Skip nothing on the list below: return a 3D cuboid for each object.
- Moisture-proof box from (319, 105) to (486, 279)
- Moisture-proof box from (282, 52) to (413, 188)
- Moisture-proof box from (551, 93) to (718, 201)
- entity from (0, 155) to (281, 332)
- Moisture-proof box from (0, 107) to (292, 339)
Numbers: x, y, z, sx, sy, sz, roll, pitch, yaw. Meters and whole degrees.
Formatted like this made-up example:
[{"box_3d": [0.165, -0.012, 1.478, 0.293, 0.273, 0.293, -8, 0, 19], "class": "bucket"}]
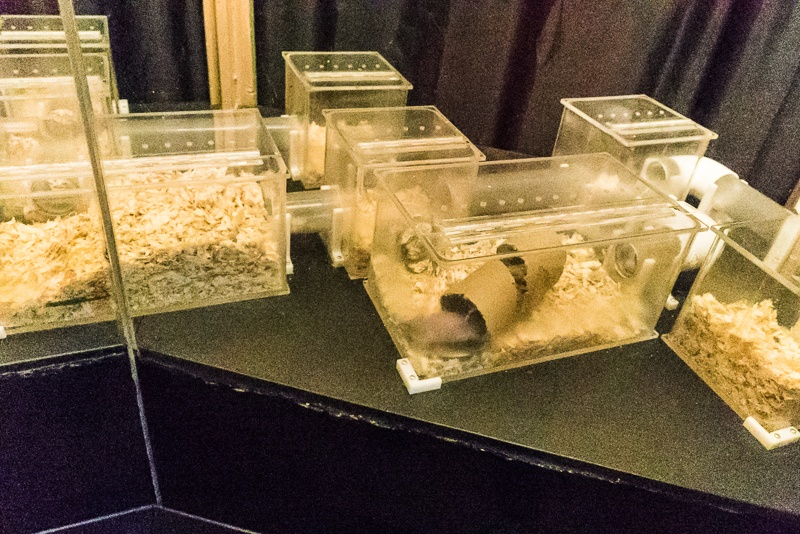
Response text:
[{"box_3d": [-0.061, -0.156, 1.809, 0.578, 0.511, 0.424, -3, 45, -11], "class": "Moisture-proof box"}, {"box_3d": [-0.243, -0.450, 1.936, 0.423, 0.383, 0.401, -3, 41, -17], "class": "Moisture-proof box"}, {"box_3d": [0.636, -0.323, 1.693, 0.289, 0.261, 0.278, -16, 45, -24], "class": "Moisture-proof box"}, {"box_3d": [-0.598, -0.063, 1.380, 0.467, 0.212, 0.143, -12, 53, -18], "class": "entity"}, {"box_3d": [-0.743, -0.129, 1.708, 0.890, 0.450, 0.416, -9, 7, -23], "class": "Moisture-proof box"}]
